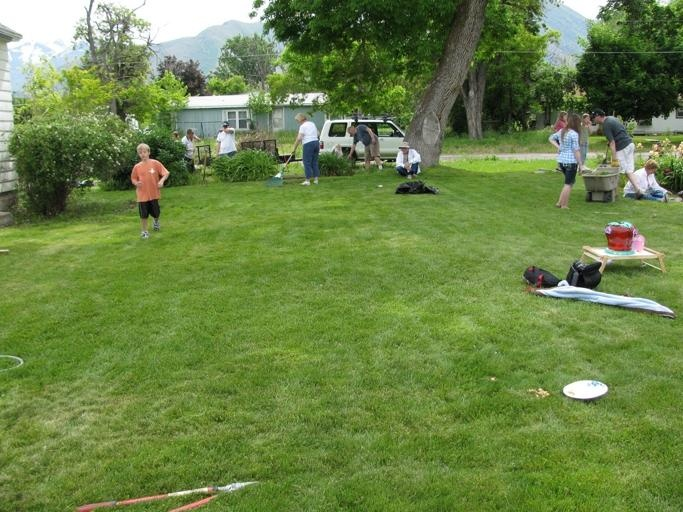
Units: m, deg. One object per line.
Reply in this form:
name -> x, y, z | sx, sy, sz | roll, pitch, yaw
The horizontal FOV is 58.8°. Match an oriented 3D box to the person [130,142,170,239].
person -> -3.460, -1.225, 11.000 | 0.582, 1.641, 1.236 | -5, 12, -16

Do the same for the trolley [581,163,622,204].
trolley -> 5.993, -1.681, 14.061 | 0.688, 0.742, 0.927 | 6, 14, 33

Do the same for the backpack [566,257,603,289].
backpack -> 3.196, 0.195, 7.953 | 0.373, 0.389, 0.368 | 8, 5, 20

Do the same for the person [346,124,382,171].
person -> 0.749, -3.695, 20.185 | 0.968, 1.452, 2.516 | -2, 12, 0

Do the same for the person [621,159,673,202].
person -> 7.112, -1.865, 14.383 | 1.134, 1.086, 0.843 | 12, 19, 28

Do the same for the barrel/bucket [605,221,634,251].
barrel/bucket -> 3.931, -0.304, 8.613 | 0.318, 0.386, 0.411 | 9, 16, 40

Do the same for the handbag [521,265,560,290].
handbag -> 2.709, 0.280, 8.194 | 0.491, 0.204, 0.384 | 3, 13, 22

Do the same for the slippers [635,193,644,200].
slippers -> 6.964, -1.401, 14.152 | 0.112, 0.124, 0.122 | -13, 37, 1

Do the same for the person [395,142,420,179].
person -> 1.927, -2.808, 17.696 | 0.627, 0.940, 0.891 | 1, 12, 13

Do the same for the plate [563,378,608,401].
plate -> 2.314, 1.269, 5.774 | 0.407, 0.088, 0.287 | -5, 12, -14

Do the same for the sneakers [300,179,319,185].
sneakers -> -0.891, -2.078, 16.934 | 0.540, 0.236, 0.194 | -1, 3, -37

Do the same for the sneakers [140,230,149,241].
sneakers -> -3.545, -0.396, 10.863 | 0.092, 0.116, 0.257 | 0, 11, -5

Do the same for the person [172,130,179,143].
person -> -5.135, -3.766, 18.982 | 0.254, 0.411, 0.766 | -4, 13, -21

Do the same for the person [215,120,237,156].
person -> -3.694, -3.746, 19.300 | 0.593, 1.061, 1.779 | -4, 12, -11

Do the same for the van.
van -> 0.765, -4.294, 22.356 | 2.868, 1.419, 1.528 | -4, 18, -5
